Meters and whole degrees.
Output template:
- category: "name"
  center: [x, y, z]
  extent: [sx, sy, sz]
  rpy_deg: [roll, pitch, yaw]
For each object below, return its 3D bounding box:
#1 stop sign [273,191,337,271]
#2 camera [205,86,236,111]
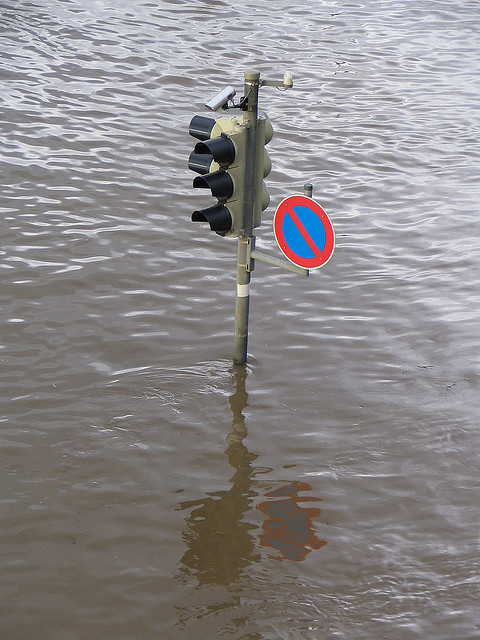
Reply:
- category: "stop sign"
  center: [0.423, -0.544, 6.449]
  extent: [0.185, 0.659, 0.468]
  rpy_deg: [-16, 52, -25]
- category: "camera"
  center: [-0.109, -1.488, 6.486]
  extent: [0.099, 0.090, 0.301]
  rpy_deg: [44, 55, 4]
